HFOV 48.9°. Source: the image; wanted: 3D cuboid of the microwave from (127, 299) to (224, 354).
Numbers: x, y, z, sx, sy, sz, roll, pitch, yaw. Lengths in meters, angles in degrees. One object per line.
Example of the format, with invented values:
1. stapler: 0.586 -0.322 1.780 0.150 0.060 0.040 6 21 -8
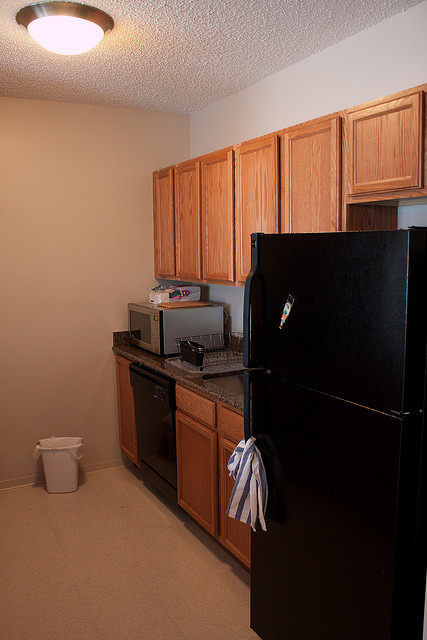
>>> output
1. microwave: -0.314 0.059 3.276 0.428 0.323 0.598 1 6 -29

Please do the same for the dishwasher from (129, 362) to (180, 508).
1. dishwasher: -0.367 0.678 2.858 0.104 0.776 0.659 -3 4 -26

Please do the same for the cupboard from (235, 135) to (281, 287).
1. cupboard: 0.175 -0.515 2.271 0.147 0.667 0.240 -7 15 -32

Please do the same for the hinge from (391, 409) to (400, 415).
1. hinge: 0.384 0.193 0.990 0.010 0.004 0.014 -4 8 -26

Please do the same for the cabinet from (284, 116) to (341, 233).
1. cabinet: 0.402 -0.565 1.872 0.153 0.458 0.222 -8 16 -34

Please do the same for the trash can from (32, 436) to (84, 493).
1. trash can: -1.049 0.984 3.200 0.314 0.315 0.292 -2 3 -8

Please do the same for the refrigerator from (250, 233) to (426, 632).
1. refrigerator: 0.305 0.344 1.225 0.436 1.065 0.582 -4 11 -17

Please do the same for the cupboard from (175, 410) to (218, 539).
1. cupboard: -0.085 0.772 2.396 0.222 0.505 0.341 -4 10 -23

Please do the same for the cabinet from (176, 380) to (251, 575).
1. cabinet: -0.019 0.692 2.305 0.384 0.753 0.560 -4 10 -24

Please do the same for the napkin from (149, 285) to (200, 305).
1. napkin: -0.263 -0.183 3.258 0.257 0.104 0.152 -5 11 -29
